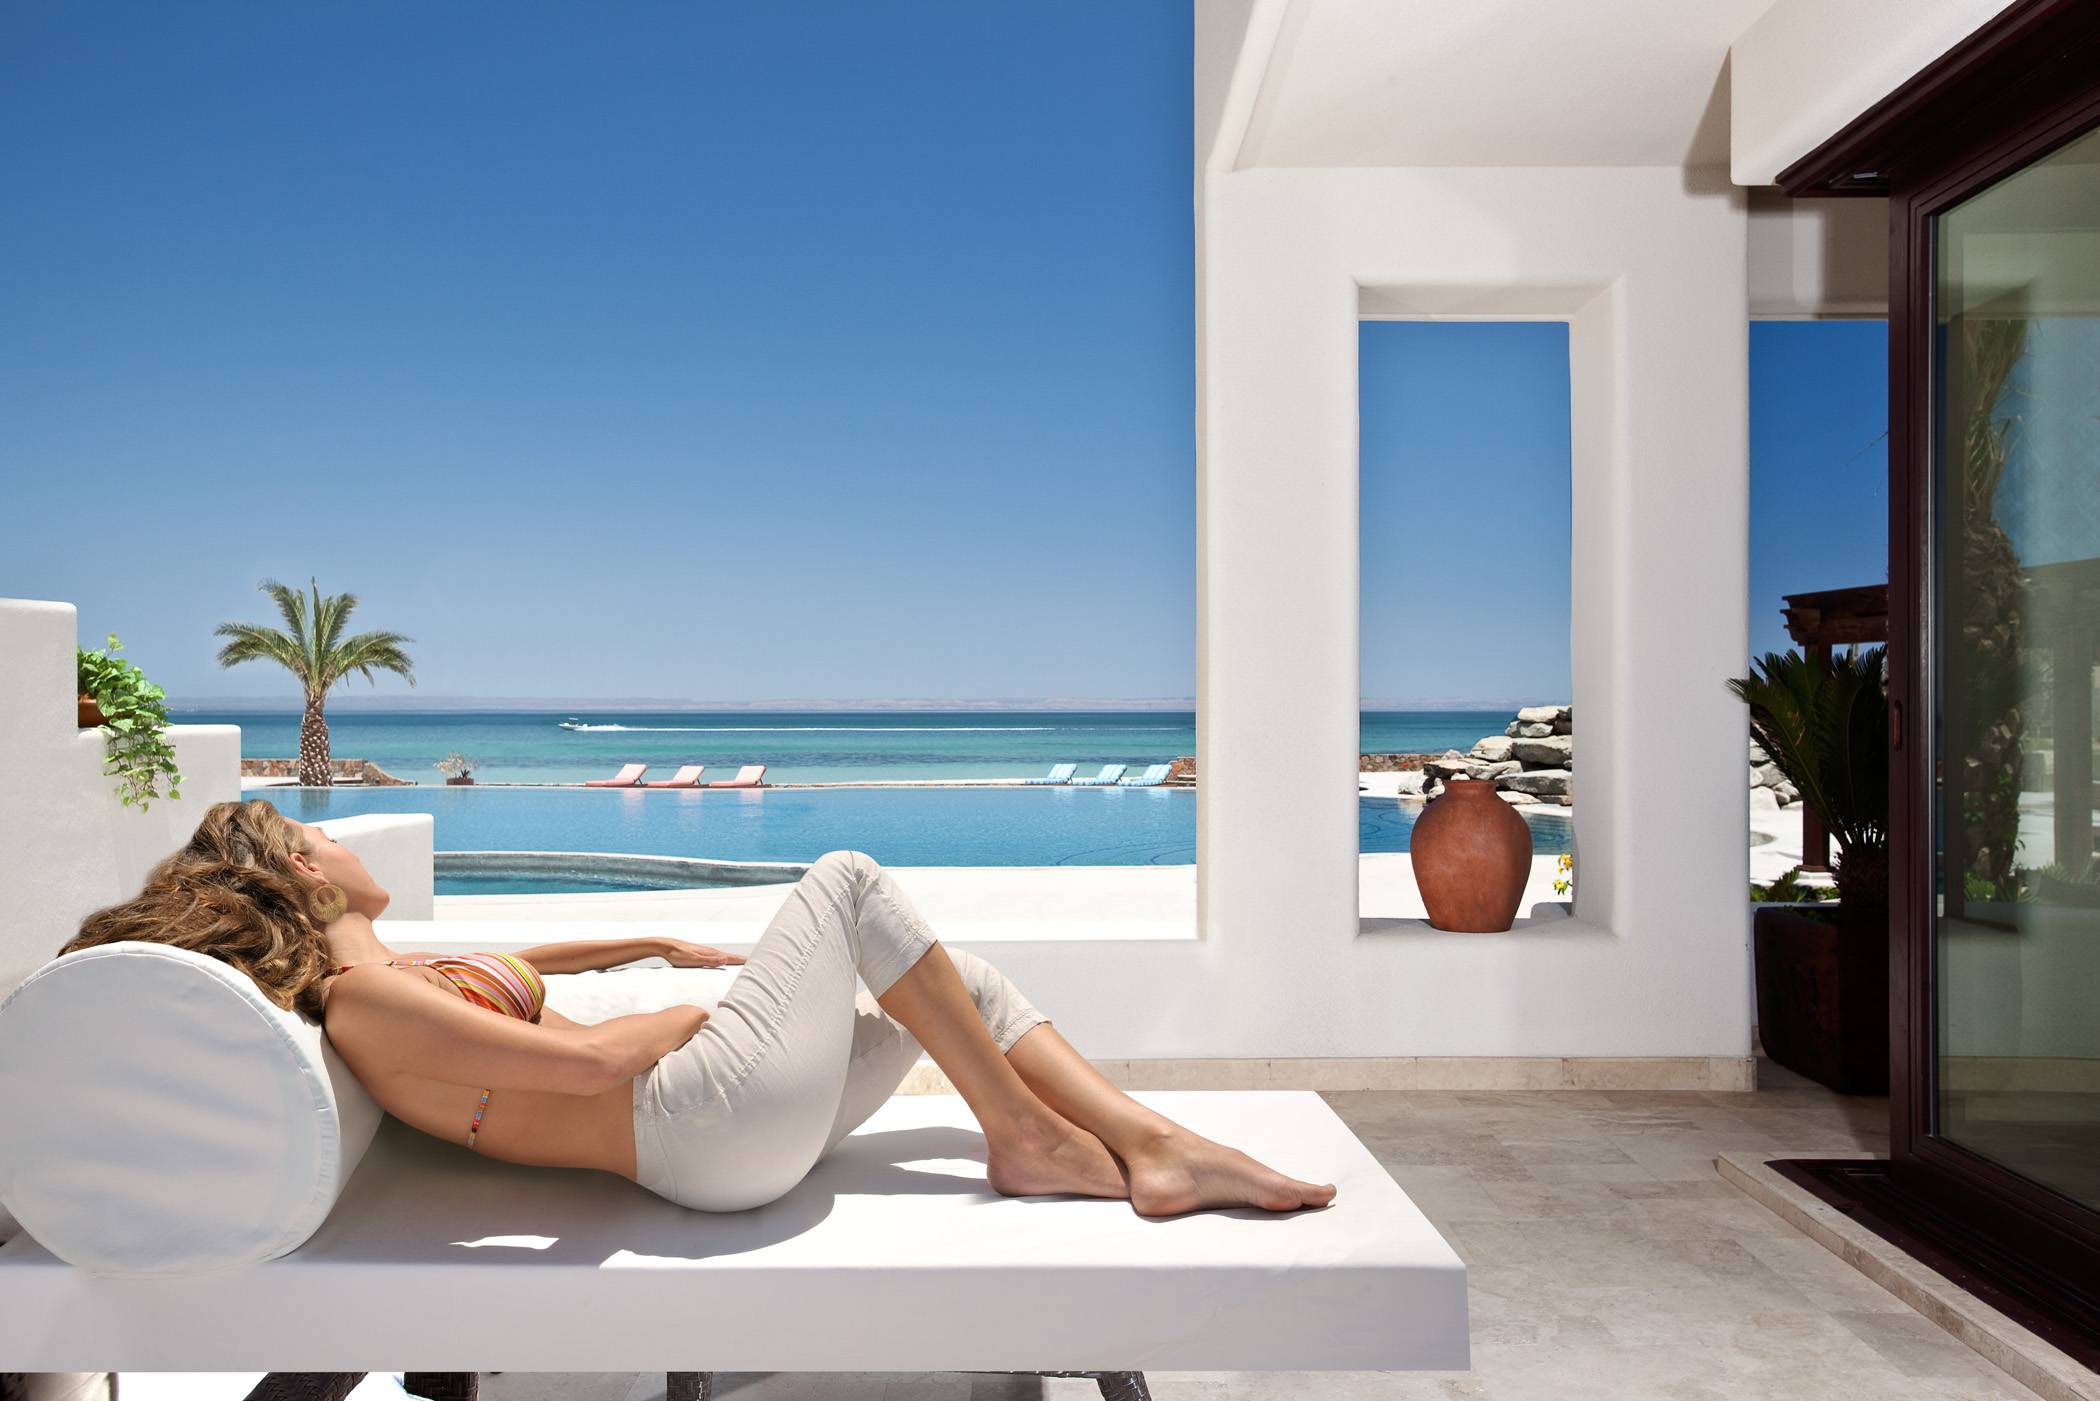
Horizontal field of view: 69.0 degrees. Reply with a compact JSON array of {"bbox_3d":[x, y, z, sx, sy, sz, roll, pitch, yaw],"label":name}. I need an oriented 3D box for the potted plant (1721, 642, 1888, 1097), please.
[{"bbox_3d":[2.814,0.582,5.589,0.681,1.648,0.423,10,4,28],"label":"potted plant"}]

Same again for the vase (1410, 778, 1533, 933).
[{"bbox_3d":[1.638,0.583,5.939,0.516,0.565,0.493,0,-7,7],"label":"vase"}]

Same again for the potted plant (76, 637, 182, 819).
[{"bbox_3d":[-3.661,0.151,6.120,0.285,0.450,0.354,-8,-2,-33],"label":"potted plant"}]

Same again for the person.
[{"bbox_3d":[-0.848,0.823,3.928,2.867,1.177,1.080,-2,-17,-17],"label":"person"}]
